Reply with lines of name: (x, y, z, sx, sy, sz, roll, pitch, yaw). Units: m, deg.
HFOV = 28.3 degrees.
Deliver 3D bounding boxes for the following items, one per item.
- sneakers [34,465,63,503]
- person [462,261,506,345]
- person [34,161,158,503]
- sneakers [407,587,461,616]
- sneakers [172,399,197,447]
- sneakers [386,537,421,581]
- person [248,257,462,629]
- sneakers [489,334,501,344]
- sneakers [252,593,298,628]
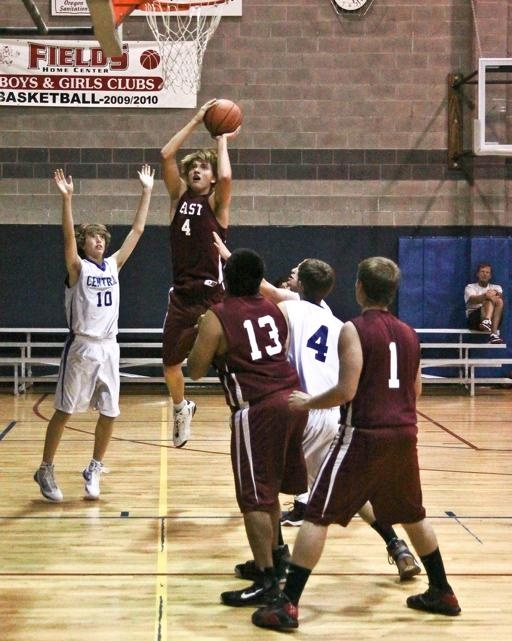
sneakers: (-1.335, 1.048, 6.557, 0.177, 0.261, 0.192, -1, 7, -12)
person: (2.517, -0.179, 11.158, 0.329, 0.828, 0.622, 0, 7, -6)
person: (-1.083, 0.095, 6.744, 0.754, 2.137, 0.718, 0, 7, -6)
sneakers: (0.901, 1.414, 5.207, 0.310, 0.135, 0.104, 5, 5, 20)
sneakers: (-0.511, 0.702, 6.843, 0.119, 0.358, 0.157, -4, -14, 40)
sneakers: (0.773, 1.280, 5.529, 0.141, 0.102, 0.305, 42, 9, -18)
person: (0.534, 0.612, 5.032, 1.004, 1.801, 0.301, -1, 7, -15)
sneakers: (2.596, 0.210, 11.023, 0.115, 0.097, 0.198, 2, 7, 9)
sneakers: (0.102, 1.439, 5.036, 0.239, 0.158, 0.124, 3, -8, 16)
